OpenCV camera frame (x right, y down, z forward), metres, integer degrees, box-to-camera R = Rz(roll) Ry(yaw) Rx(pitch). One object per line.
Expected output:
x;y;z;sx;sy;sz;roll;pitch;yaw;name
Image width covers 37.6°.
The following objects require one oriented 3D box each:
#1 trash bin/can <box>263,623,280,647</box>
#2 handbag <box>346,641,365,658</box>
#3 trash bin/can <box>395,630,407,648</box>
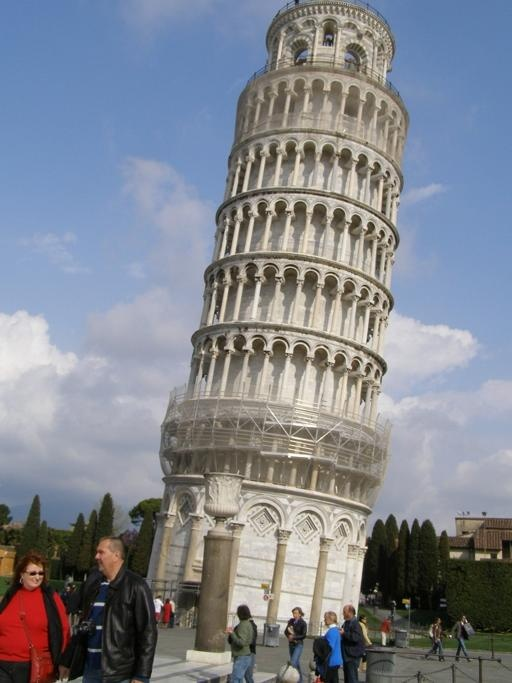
0.449;9.033;22.829;0.476;0.702;0.932;7;-13;4;trash bin/can
1.549;4.905;11.821;0.279;0.185;0.210;15;-27;-24;handbag
5.234;10.867;27.215;0.421;0.584;0.903;5;-13;10;trash bin/can
